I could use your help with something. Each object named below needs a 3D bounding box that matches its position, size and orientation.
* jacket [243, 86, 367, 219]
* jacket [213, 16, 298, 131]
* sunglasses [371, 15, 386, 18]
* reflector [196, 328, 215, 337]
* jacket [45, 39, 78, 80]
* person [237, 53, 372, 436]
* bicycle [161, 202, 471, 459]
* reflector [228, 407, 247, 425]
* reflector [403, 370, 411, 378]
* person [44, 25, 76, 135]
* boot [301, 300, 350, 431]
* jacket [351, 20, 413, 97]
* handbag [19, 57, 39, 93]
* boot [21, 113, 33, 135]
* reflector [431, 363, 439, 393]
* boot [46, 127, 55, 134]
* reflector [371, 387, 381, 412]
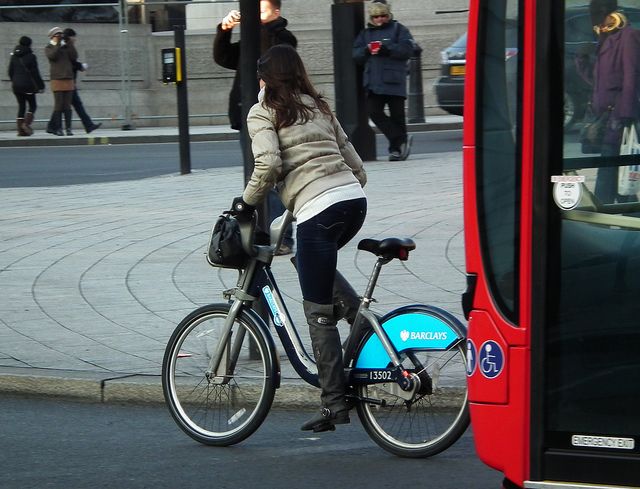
[{"bbox_3d":[-0.090,-0.514,5.096,0.707,0.702,0.422,-4,15,-6],"label":"jacket"},{"bbox_3d":[-0.650,-1.699,9.246,0.874,1.146,0.777,6,0,10],"label":"jacket"},{"bbox_3d":[0.942,-3.644,14.665,0.189,0.041,0.036,-2,15,0],"label":"sunglasses"},{"bbox_3d":[-0.663,0.516,5.351,0.140,0.029,0.006,-24,4,31],"label":"reflector"},{"bbox_3d":[-6.271,-4.531,22.476,0.695,0.942,0.545,-9,17,-23],"label":"jacket"},{"bbox_3d":[-0.089,0.033,5.094,0.707,2.148,0.778,-3,16,0],"label":"person"},{"bbox_3d":[-0.011,0.468,5.268,2.248,1.338,1.002,-4,-4,38],"label":"bicycle"},{"bbox_3d":[-0.476,0.977,5.241,0.166,0.041,0.024,-38,-22,26],"label":"reflector"},{"bbox_3d":[0.461,0.687,4.886,0.030,0.030,0.044,-10,16,-27],"label":"reflector"},{"bbox_3d":[-6.376,-4.001,22.741,0.637,2.620,0.834,-6,16,-13],"label":"person"},{"bbox_3d":[0.010,0.671,5.017,0.259,0.714,0.278,-3,16,0],"label":"boot"},{"bbox_3d":[1.003,-2.972,14.713,0.974,1.210,0.634,-1,15,3],"label":"jacket"},{"bbox_3d":[-7.229,-4.151,22.960,0.310,0.697,0.203,-7,16,-15],"label":"handbag"},{"bbox_3d":[-7.441,-3.069,23.407,0.294,0.573,0.358,-8,16,-20],"label":"boot"},{"bbox_3d":[0.612,0.709,4.897,0.027,0.153,0.067,4,17,21],"label":"reflector"},{"bbox_3d":[-6.838,-2.894,23.333,0.314,0.123,0.112,5,12,45],"label":"boot"},{"bbox_3d":[0.305,0.847,5.009,0.050,0.143,0.023,9,20,35],"label":"reflector"}]
